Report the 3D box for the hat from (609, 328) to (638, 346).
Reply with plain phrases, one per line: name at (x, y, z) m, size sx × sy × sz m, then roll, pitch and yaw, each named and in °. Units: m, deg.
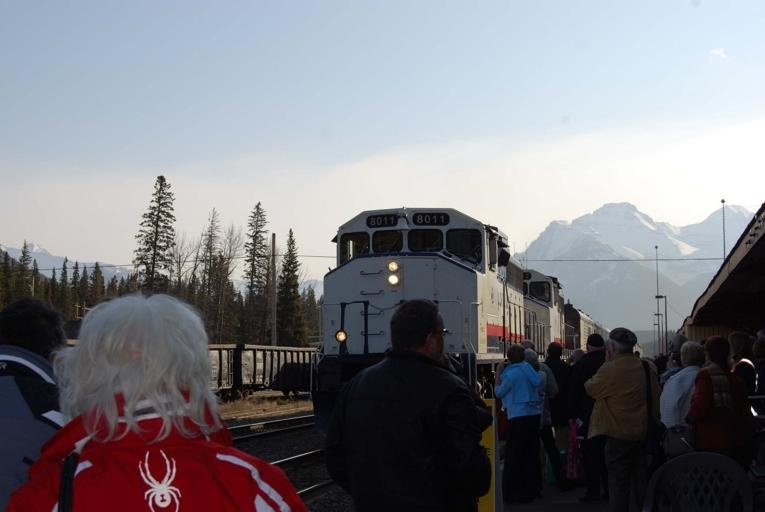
hat at (2.838, 0.946, 8.406) m, size 0.251 × 0.101 × 0.274 m, roll 8°, pitch 3°, yaw -15°
